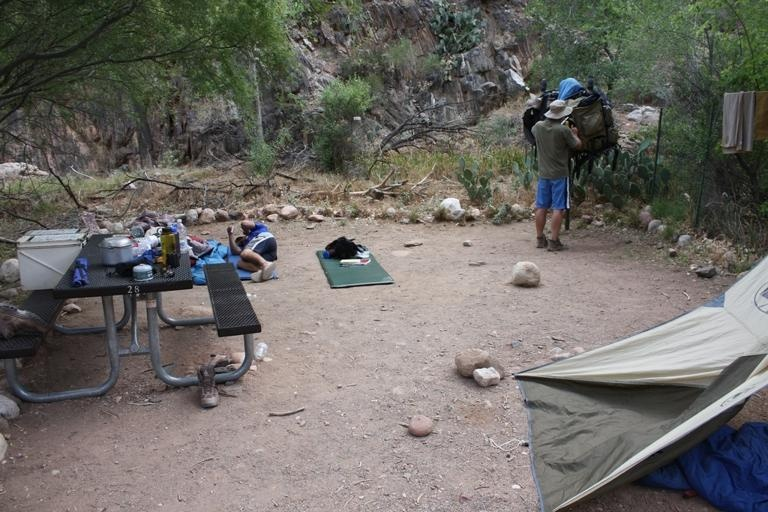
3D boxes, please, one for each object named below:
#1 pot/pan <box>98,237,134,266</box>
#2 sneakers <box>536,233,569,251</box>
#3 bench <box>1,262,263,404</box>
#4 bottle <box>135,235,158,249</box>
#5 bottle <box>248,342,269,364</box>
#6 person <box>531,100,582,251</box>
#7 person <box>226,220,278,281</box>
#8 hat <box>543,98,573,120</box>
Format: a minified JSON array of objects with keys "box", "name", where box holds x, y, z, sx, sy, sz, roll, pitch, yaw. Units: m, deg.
[{"box":[-2.727,-0.063,5.674,0.319,0.237,0.306,-2,9,-16],"name":"pot/pan"},{"box":[2.866,-0.241,9.537,0.429,0.172,0.252,-2,11,-23],"name":"sneakers"},{"box":[-2.390,0.631,5.657,1.849,0.837,1.897,-2,13,-13],"name":"bench"},{"box":[-2.567,-0.157,6.043,0.145,0.092,0.223,17,20,23],"name":"bottle"},{"box":[-1.415,1.081,6.318,0.138,0.181,0.187,16,-12,-19],"name":"bottle"},{"box":[2.903,-1.361,9.404,0.719,2.495,0.622,2,15,17],"name":"person"},{"box":[-2.105,-0.071,8.892,0.625,0.506,1.081,5,13,-14],"name":"person"},{"box":[2.916,-2.431,9.234,0.438,0.297,0.215,-1,13,4],"name":"hat"}]
